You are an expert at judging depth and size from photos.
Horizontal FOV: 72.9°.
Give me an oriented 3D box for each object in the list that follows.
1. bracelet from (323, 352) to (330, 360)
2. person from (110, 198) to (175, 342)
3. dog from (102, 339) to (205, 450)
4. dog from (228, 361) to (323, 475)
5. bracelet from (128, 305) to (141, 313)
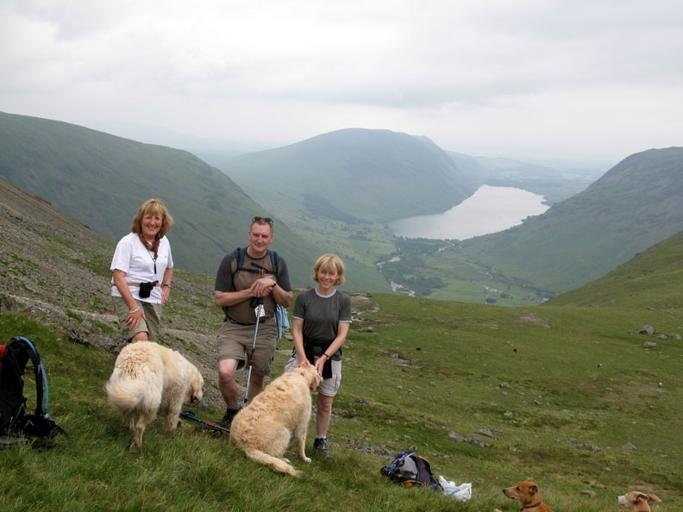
[{"bbox_3d":[-0.370,2.423,11.217,0.150,0.057,0.147,50,8,25],"label":"bracelet"},{"bbox_3d":[-4.552,0.349,10.550,0.894,3.260,1.206,9,6,10],"label":"person"},{"bbox_3d":[-4.009,2.870,9.672,0.875,2.099,1.926,10,5,17],"label":"dog"},{"bbox_3d":[-1.354,3.720,10.291,1.689,2.220,1.403,4,7,-36],"label":"dog"},{"bbox_3d":[-4.528,1.176,10.093,0.183,0.153,0.133,4,6,-28],"label":"bracelet"}]
